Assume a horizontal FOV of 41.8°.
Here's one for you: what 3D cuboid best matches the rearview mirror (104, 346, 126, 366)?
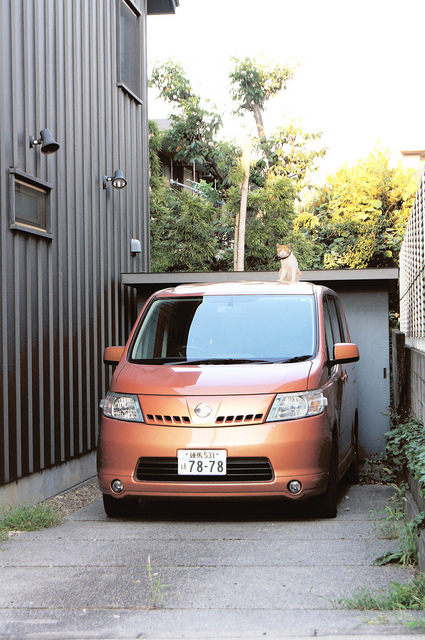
[{"bbox_3d":[-0.902,0.318,5.085,0.191,0.142,0.149,0,-5,8],"label":"rearview mirror"}]

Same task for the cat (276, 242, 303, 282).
[{"bbox_3d":[1.249,-0.907,9.103,0.342,0.647,0.839,1,-5,23],"label":"cat"}]

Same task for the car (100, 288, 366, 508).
[{"bbox_3d":[0.275,0.564,5.252,1.544,1.310,2.614,-1,-5,10],"label":"car"}]
